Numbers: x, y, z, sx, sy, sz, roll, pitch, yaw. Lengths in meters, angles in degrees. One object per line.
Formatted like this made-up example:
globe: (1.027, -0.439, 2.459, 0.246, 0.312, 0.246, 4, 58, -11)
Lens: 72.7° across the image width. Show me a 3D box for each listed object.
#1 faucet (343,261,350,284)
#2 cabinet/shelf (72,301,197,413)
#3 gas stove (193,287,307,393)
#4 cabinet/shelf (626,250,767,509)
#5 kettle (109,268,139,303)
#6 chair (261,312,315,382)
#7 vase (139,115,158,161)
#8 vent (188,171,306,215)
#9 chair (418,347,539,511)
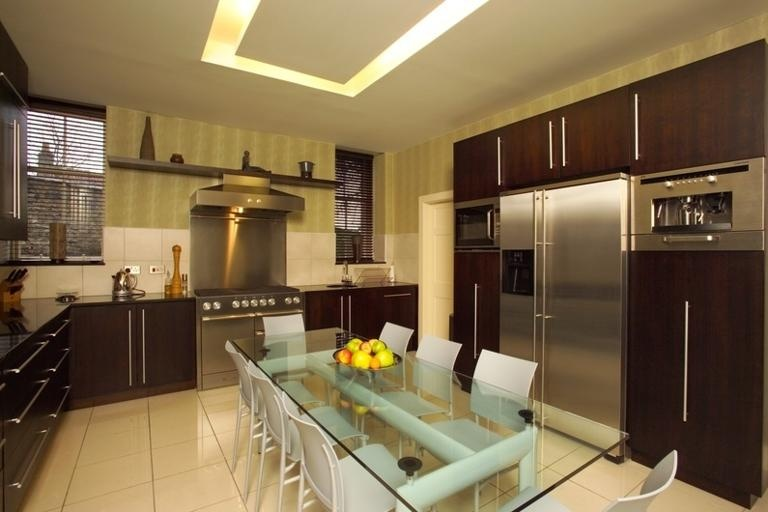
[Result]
faucet: (-0.529, 0.222, 7.262, 0.116, 0.296, 0.387, -2, 2, -5)
cabinet/shelf: (-2.699, 1.067, 5.524, 1.081, 0.965, 0.411, 1, -3, -29)
gas stove: (-1.471, 1.118, 6.106, 1.250, 1.110, 0.714, -5, -38, -8)
cabinet/shelf: (2.570, 0.971, 4.340, 0.927, 2.023, 0.248, 1, 3, 44)
kettle: (-2.856, 0.306, 5.731, 0.286, 0.406, 0.357, -5, -8, 42)
chair: (-0.805, 0.795, 4.961, 0.377, 0.710, 0.426, 0, -7, -17)
vase: (-2.684, -1.336, 5.902, 0.168, 0.564, 0.361, -2, 2, -23)
vent: (-1.618, -0.756, 6.230, 1.241, 0.433, 0.480, -2, 2, -30)
chair: (0.769, 1.167, 3.796, 0.834, 1.276, 0.726, 5, -4, -34)
